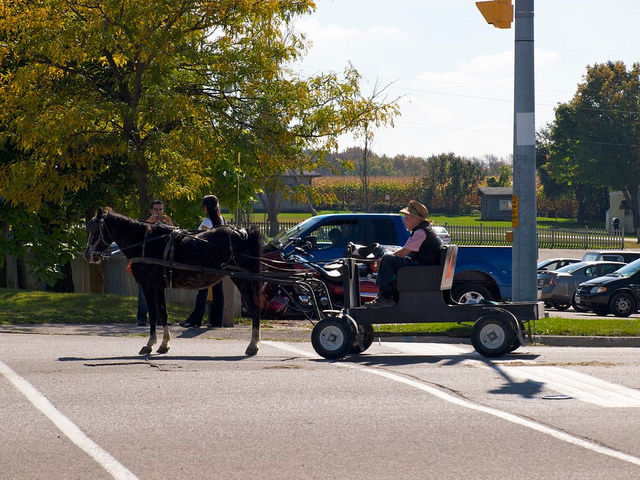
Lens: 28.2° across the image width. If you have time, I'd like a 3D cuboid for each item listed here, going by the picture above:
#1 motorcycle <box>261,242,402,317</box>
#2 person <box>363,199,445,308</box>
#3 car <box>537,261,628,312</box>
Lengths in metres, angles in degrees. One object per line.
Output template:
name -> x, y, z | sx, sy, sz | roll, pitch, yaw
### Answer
motorcycle -> 0.176, 0.858, 28.092 | 3.706, 1.607, 1.313 | -4, 0, 19
person -> 1.730, 0.258, 25.036 | 1.530, 2.046, 0.891 | 3, -3, 10
car -> 8.939, 1.149, 39.514 | 4.218, 1.344, 1.810 | -3, 13, -4
